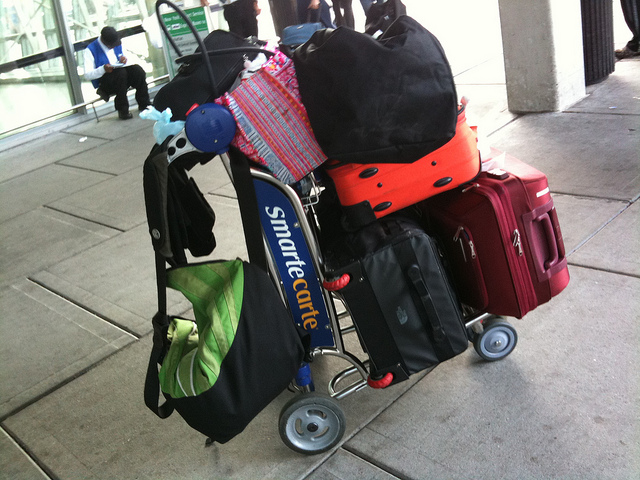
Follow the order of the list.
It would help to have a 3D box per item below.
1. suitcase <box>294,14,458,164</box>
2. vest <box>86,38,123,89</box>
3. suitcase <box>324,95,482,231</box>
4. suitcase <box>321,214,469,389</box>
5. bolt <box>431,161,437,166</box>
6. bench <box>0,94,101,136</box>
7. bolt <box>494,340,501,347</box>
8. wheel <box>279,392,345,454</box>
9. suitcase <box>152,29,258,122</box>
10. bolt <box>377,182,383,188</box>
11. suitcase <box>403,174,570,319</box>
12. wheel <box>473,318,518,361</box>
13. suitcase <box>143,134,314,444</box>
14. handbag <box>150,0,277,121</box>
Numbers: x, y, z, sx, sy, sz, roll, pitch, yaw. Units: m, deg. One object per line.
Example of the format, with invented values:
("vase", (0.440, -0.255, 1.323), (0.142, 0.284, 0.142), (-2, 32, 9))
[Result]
("suitcase", (0.210, -0.559, 2.219), (0.556, 0.586, 0.292), (-9, 11, 3))
("vest", (-3.598, -2.963, 9.404), (0.542, 0.728, 0.401), (-20, 16, -21))
("suitcase", (0.342, -0.318, 2.711), (0.747, 0.262, 0.620), (-18, 9, 1))
("suitcase", (0.341, 0.249, 2.930), (0.695, 0.910, 0.715), (-22, 12, -1))
("bolt", (0.485, -0.332, 2.427), (0.022, 0.023, 0.005), (1, 0, -7))
("bench", (-4.749, -2.149, 9.747), (2.098, 0.231, 0.162), (-25, 50, 18))
("bolt", (0.893, 0.518, 2.846), (0.026, 0.039, 0.020), (-5, 23, 1))
("wheel", (-0.037, 0.854, 2.622), (0.334, 0.354, 0.103), (1, 20, -6))
("suitcase", (-0.512, -0.707, 2.470), (0.358, 0.410, 0.428), (-15, 29, -26))
("bolt", (0.251, -0.239, 2.422), (0.020, 0.021, 0.007), (-2, -1, 5))
("suitcase", (0.739, 0.026, 2.601), (0.338, 0.637, 0.602), (-17, 7, -32))
("wheel", (0.877, 0.500, 2.840), (0.183, 0.193, 0.061), (-16, 21, -3))
("suitcase", (-0.471, 0.198, 2.375), (0.628, 1.242, 0.578), (6, 28, 35))
("handbag", (-0.464, -0.783, 2.362), (0.368, 0.455, 0.521), (12, 31, 42))
